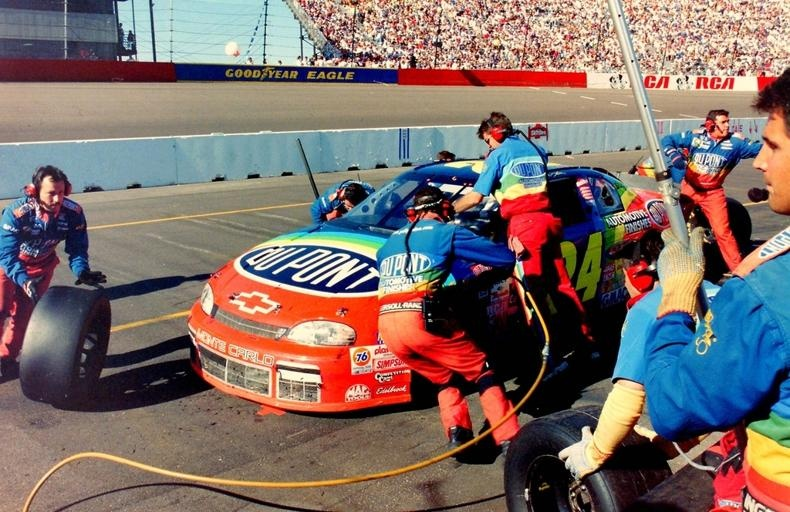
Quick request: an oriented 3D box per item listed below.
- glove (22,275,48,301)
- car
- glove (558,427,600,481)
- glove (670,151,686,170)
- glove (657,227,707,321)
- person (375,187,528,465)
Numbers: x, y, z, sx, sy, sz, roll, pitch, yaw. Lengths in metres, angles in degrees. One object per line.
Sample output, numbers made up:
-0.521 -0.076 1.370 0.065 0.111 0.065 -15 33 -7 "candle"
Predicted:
-3.518 0.315 5.823 0.206 0.181 0.062 -36 27 -1 "glove"
0.628 0.340 6.107 4.814 1.413 2.364 -17 27 -36 "car"
1.041 1.097 3.297 0.248 0.242 0.079 42 27 14 "glove"
3.957 -1.323 8.334 0.213 0.106 0.292 22 50 25 "glove"
1.383 0.063 2.943 0.295 0.460 0.136 34 -16 -38 "glove"
0.364 0.541 4.641 1.154 2.001 0.884 4 18 14 "person"
